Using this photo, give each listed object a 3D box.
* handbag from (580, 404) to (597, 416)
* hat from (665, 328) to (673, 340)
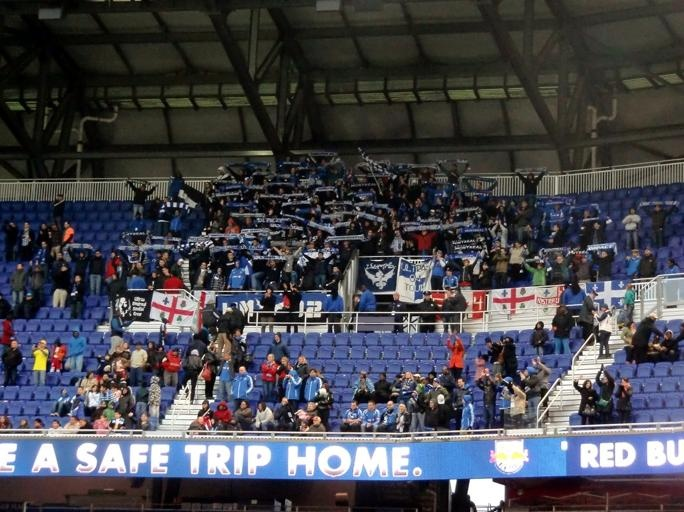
[{"bbox_3d":[6.218,3.906,51.681,0.385,0.270,0.104,-1,-11,1],"label":"handbag"},{"bbox_3d":[8.495,2.055,53.148,0.181,0.201,0.239,-1,-8,5],"label":"hat"}]
